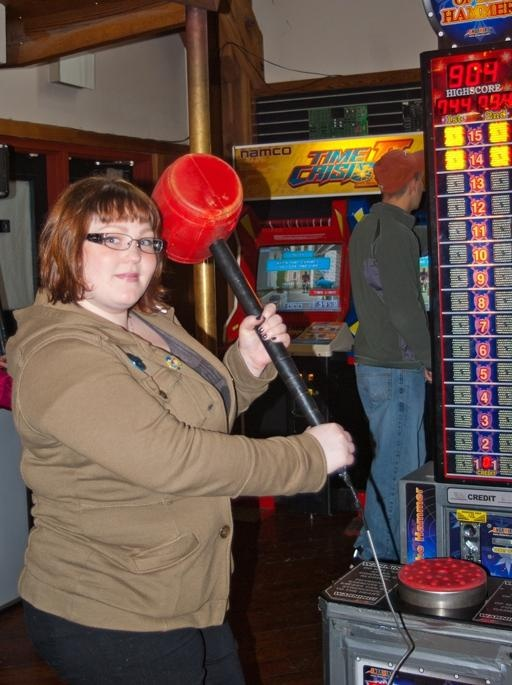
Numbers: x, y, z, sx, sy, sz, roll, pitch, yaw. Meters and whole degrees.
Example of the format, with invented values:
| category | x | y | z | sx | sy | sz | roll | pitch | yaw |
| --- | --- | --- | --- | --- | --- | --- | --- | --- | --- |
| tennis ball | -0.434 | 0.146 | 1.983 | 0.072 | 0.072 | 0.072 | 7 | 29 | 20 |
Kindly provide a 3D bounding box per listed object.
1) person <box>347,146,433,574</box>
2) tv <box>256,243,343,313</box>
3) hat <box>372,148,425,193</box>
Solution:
| category | x | y | z | sx | sy | sz | roll | pitch | yaw |
| --- | --- | --- | --- | --- | --- | --- | --- | --- | --- |
| person | 0.639 | 0.160 | 2.839 | 0.342 | 1.626 | 0.404 | -4 | 4 | 12 |
| tv | 0.323 | -0.423 | 4.050 | 0.659 | 0.534 | 0.226 | 1 | -7 | 19 |
| hat | 0.716 | -0.829 | 2.932 | 0.191 | 0.268 | 0.132 | 27 | -20 | 42 |
